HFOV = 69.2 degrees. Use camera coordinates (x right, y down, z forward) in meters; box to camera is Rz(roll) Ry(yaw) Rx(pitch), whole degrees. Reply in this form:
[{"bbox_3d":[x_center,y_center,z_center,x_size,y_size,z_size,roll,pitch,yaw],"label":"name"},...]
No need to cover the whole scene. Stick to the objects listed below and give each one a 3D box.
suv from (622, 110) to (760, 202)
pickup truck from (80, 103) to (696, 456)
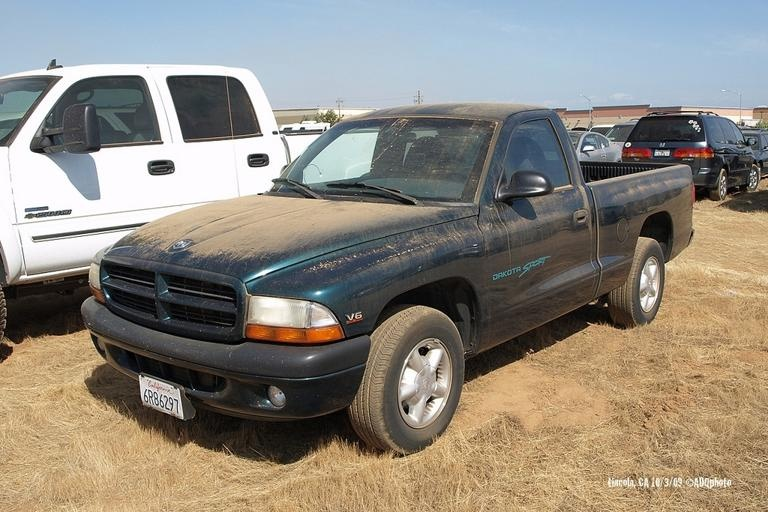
[{"bbox_3d":[8.618,-3.082,15.832,3.300,2.226,6.197,5,13,37],"label":"suv"},{"bbox_3d":[0.565,-0.101,5.119,4.914,1.443,2.578,-7,9,-43],"label":"pickup truck"}]
